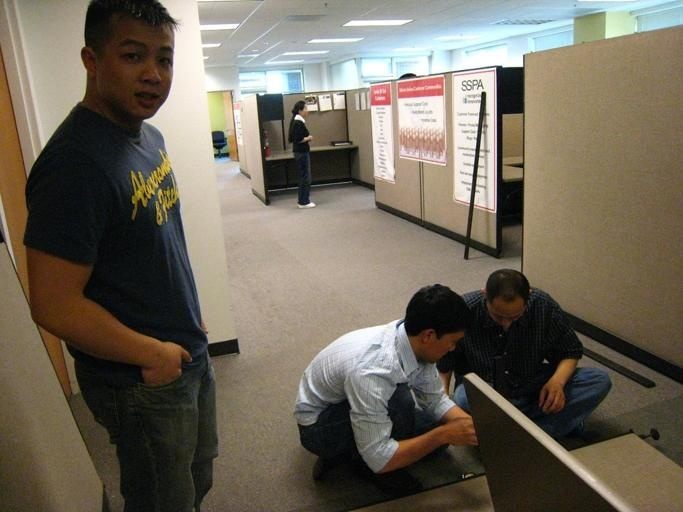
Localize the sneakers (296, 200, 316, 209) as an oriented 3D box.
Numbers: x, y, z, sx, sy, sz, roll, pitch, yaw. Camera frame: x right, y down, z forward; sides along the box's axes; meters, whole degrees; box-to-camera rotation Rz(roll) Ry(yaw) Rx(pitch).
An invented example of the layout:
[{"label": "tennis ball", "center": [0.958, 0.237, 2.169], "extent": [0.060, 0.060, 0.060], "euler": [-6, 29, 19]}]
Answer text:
[{"label": "sneakers", "center": [-0.529, -0.768, 7.663], "extent": [0.284, 0.117, 0.104], "euler": [-3, 13, -10]}]

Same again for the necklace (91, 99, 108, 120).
[{"label": "necklace", "center": [-0.611, -0.370, 1.285], "extent": [0.029, 0.042, 0.037], "euler": [-17, 23, -33]}]

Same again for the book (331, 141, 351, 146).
[{"label": "book", "center": [0.003, -1.965, 8.962], "extent": [0.342, 0.034, 0.489], "euler": [-4, 19, 1]}]

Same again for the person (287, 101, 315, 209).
[{"label": "person", "center": [-0.602, -1.517, 7.682], "extent": [0.324, 1.507, 0.740], "euler": [-5, 19, -3]}]

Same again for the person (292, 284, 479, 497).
[{"label": "person", "center": [0.221, 0.598, 2.144], "extent": [0.814, 0.935, 0.617], "euler": [5, 15, 7]}]

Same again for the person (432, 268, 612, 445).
[{"label": "person", "center": [0.806, 0.473, 2.343], "extent": [0.765, 0.870, 0.638], "euler": [7, 36, 29]}]
